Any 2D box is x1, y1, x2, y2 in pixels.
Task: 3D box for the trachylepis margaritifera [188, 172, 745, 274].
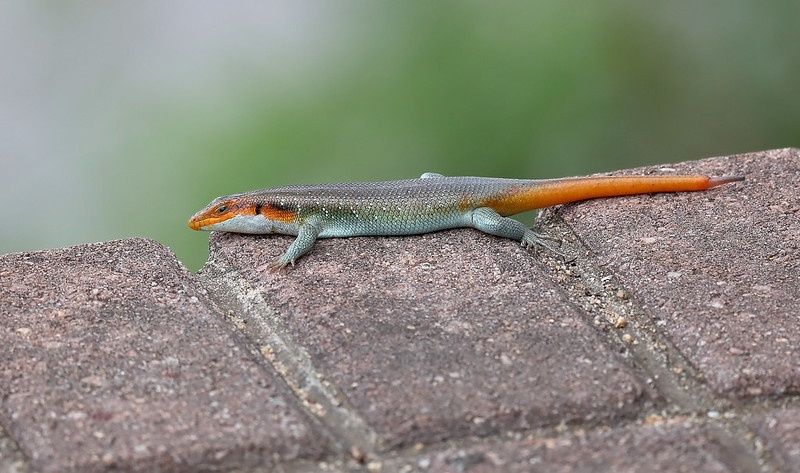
[{"bbox_3d":[0.212,-0.151,3.105,1.949,0.190,0.807,-5,14,-2],"label":"trachylepis margaritifera"}]
